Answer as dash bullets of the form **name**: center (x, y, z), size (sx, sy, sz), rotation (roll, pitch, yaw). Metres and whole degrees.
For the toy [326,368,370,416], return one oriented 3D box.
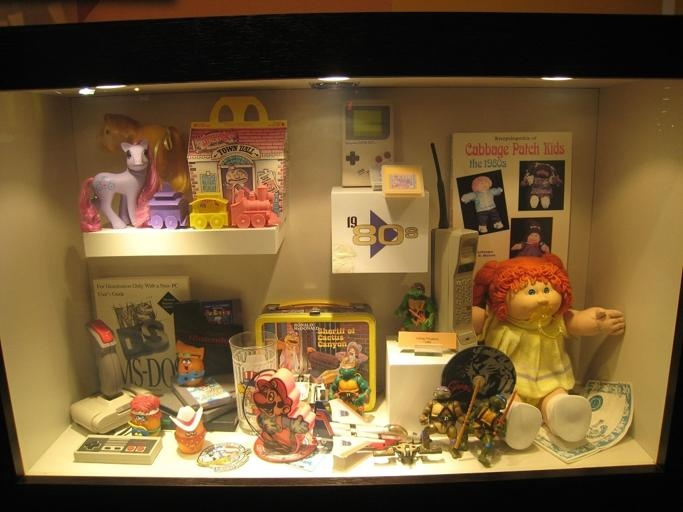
- **toy**: center (0.024, 0.477, 1.874), size (0.129, 0.236, 0.074), rotation (-4, 0, 4)

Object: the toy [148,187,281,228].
- **toy**: center (-0.398, -0.140, 1.744), size (0.379, 0.139, 0.115), rotation (-3, -5, -8)

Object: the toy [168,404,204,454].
- **toy**: center (-0.461, 0.528, 1.718), size (0.108, 0.131, 0.122), rotation (-3, 7, 1)

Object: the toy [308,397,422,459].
- **toy**: center (0.075, 0.526, 1.725), size (0.309, 0.084, 0.250), rotation (-2, 11, -7)

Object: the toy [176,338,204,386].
- **toy**: center (-0.522, 0.376, 1.942), size (0.110, 0.145, 0.090), rotation (6, 5, 9)

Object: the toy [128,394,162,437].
- **toy**: center (-0.632, 0.520, 1.788), size (0.098, 0.137, 0.103), rotation (5, 4, 31)

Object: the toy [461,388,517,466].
- **toy**: center (0.435, 0.505, 1.683), size (0.111, 0.165, 0.185), rotation (8, 14, 38)

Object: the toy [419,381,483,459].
- **toy**: center (0.340, 0.503, 1.689), size (0.137, 0.049, 0.348), rotation (15, 51, 19)

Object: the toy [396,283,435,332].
- **toy**: center (0.258, 0.212, 1.936), size (0.134, 0.241, 0.076), rotation (7, 13, 18)

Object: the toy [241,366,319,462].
- **toy**: center (-0.177, 0.478, 1.684), size (0.198, 0.223, 0.193), rotation (-4, 6, 9)

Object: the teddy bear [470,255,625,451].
- **teddy bear**: center (0.621, 0.286, 1.815), size (0.589, 0.587, 0.320), rotation (-1, 1, 3)

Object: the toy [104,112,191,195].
- **toy**: center (-0.655, -0.337, 1.869), size (0.375, 0.228, 0.118), rotation (18, 27, 30)

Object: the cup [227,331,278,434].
- **cup**: center (-0.330, 0.420, 1.920), size (0.194, 0.334, 0.193), rotation (-5, -28, -3)
